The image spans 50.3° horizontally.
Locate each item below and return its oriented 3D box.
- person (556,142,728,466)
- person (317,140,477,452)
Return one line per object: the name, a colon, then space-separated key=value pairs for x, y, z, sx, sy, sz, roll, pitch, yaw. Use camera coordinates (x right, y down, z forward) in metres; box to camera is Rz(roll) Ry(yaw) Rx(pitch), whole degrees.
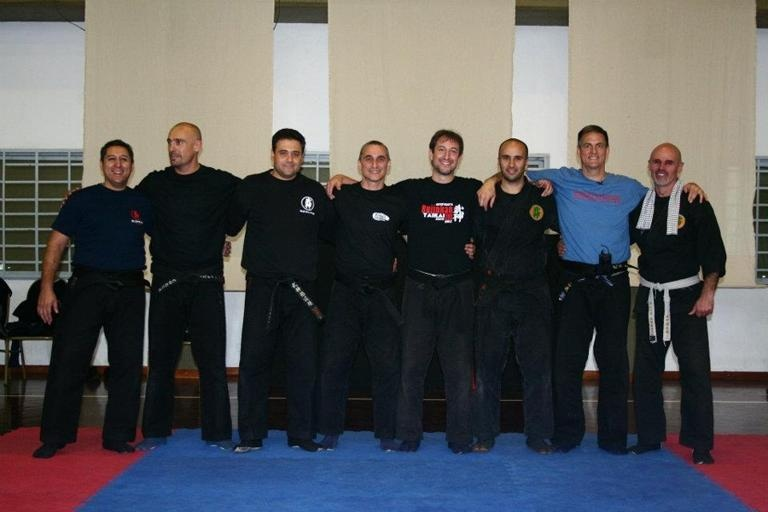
person: x=2.593 y=0.390 z=7.236 sx=0.788 sy=2.755 sz=0.495 roll=0 pitch=4 yaw=15
person: x=0.485 y=0.303 z=7.320 sx=0.782 sy=2.809 sz=0.464 roll=-1 pitch=4 yaw=4
